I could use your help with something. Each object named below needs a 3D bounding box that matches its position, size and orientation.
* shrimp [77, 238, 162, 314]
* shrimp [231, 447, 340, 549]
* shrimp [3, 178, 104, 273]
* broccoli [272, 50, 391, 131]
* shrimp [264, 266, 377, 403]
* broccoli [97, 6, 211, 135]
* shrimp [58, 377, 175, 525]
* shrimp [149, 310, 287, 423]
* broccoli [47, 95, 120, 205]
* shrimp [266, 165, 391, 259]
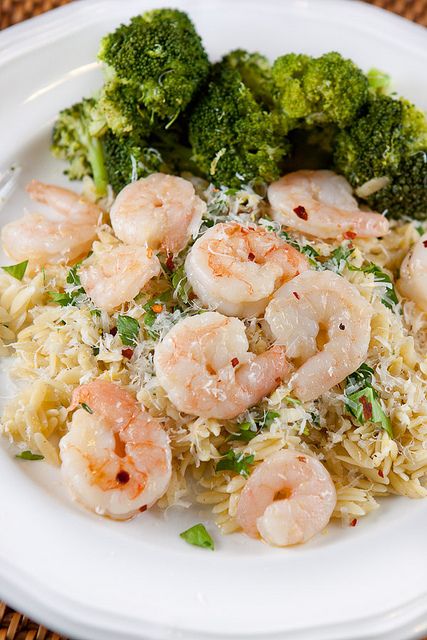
[{"bbox_3d":[-0.266,-0.136,1.729,0.216,0.117,0.192,-23,51,-11],"label":"shrimp"},{"bbox_3d":[0.181,0.425,1.463,0.235,0.089,0.214,-44,72,-6],"label":"shrimp"},{"bbox_3d":[-0.537,-0.319,2.050,0.340,0.113,0.350,12,52,17],"label":"shrimp"},{"bbox_3d":[0.359,-0.756,2.076,0.251,0.188,0.281,4,92,2],"label":"broccoli"},{"bbox_3d":[0.268,0.041,1.614,0.339,0.099,0.302,-43,78,-13],"label":"shrimp"},{"bbox_3d":[-0.195,-0.821,2.060,0.320,0.316,0.456,10,53,16],"label":"broccoli"},{"bbox_3d":[-0.245,0.307,1.498,0.246,0.136,0.318,-22,50,-11],"label":"shrimp"},{"bbox_3d":[0.017,0.099,1.541,0.358,0.106,0.247,12,78,-15],"label":"shrimp"},{"bbox_3d":[-0.459,-0.613,2.277,0.197,0.414,0.209,1,21,18],"label":"broccoli"},{"bbox_3d":[0.366,-0.362,2.025,0.355,0.098,0.253,-1,43,-35],"label":"shrimp"}]
